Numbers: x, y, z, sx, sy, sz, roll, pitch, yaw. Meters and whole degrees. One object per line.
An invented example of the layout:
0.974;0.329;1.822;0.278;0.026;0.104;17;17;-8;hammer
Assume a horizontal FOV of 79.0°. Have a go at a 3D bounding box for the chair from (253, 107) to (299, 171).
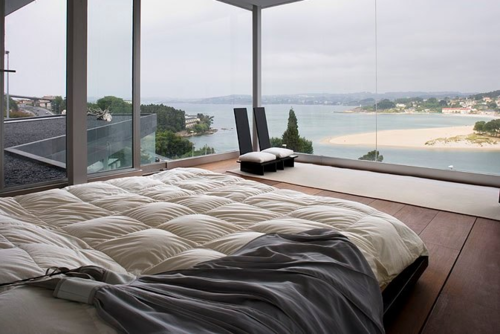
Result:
0.431;-0.603;6.681;0.799;1.223;0.868;-17;29;-9;chair
